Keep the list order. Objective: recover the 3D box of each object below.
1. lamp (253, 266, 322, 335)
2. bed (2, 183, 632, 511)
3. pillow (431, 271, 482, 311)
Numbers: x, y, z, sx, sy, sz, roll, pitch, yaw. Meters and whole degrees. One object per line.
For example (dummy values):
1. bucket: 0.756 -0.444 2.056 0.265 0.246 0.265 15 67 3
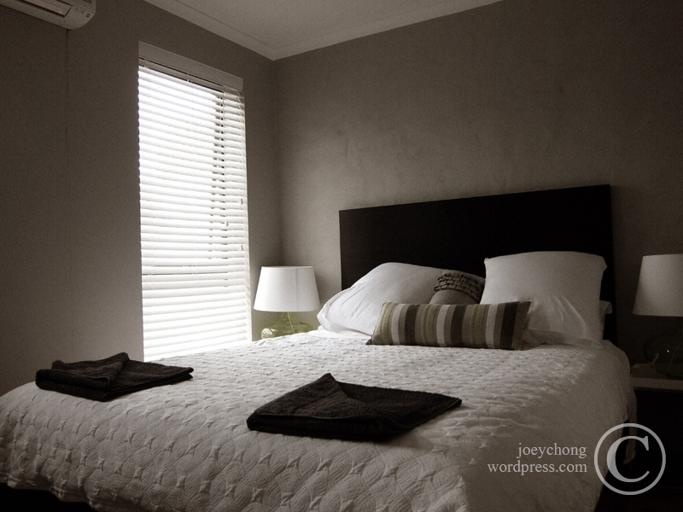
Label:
1. lamp: -0.412 0.362 4.289 0.502 0.653 0.523 -3 -6 23
2. bed: -0.126 0.390 2.657 1.653 1.128 1.722 -1 0 32
3. pillow: 0.718 0.199 3.297 0.213 0.094 0.246 3 27 22
